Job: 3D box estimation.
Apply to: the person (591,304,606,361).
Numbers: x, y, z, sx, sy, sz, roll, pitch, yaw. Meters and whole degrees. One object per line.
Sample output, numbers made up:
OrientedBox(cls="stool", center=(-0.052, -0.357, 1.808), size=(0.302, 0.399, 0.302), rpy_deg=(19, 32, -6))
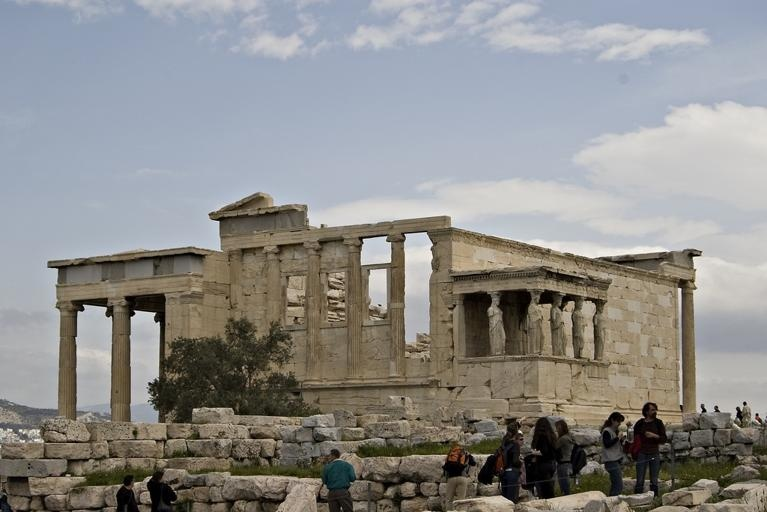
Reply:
OrientedBox(cls="person", center=(6.824, 2.352, 46.495), size=(0.422, 1.865, 1.363), rpy_deg=(-5, -8, 8))

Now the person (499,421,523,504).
OrientedBox(cls="person", center=(2.744, 4.454, 32.003), size=(0.506, 1.686, 0.873), rpy_deg=(-4, -8, 4))

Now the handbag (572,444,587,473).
OrientedBox(cls="handbag", center=(4.210, 4.356, 31.893), size=(0.293, 0.609, 0.394), rpy_deg=(-4, -8, 6))

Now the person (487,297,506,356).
OrientedBox(cls="person", center=(3.346, 2.028, 44.222), size=(0.429, 1.882, 0.877), rpy_deg=(-4, -8, 4))

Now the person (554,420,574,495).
OrientedBox(cls="person", center=(3.936, 4.311, 31.900), size=(0.419, 1.591, 0.509), rpy_deg=(-4, -8, 5))

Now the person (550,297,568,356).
OrientedBox(cls="person", center=(5.284, 2.060, 44.722), size=(0.474, 1.876, 1.194), rpy_deg=(-4, -8, 6))

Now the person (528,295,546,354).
OrientedBox(cls="person", center=(4.465, 1.983, 43.775), size=(0.485, 1.871, 1.072), rpy_deg=(-4, -8, 4))

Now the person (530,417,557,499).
OrientedBox(cls="person", center=(3.494, 4.318, 31.878), size=(0.524, 1.694, 0.548), rpy_deg=(-3, -8, -1))
